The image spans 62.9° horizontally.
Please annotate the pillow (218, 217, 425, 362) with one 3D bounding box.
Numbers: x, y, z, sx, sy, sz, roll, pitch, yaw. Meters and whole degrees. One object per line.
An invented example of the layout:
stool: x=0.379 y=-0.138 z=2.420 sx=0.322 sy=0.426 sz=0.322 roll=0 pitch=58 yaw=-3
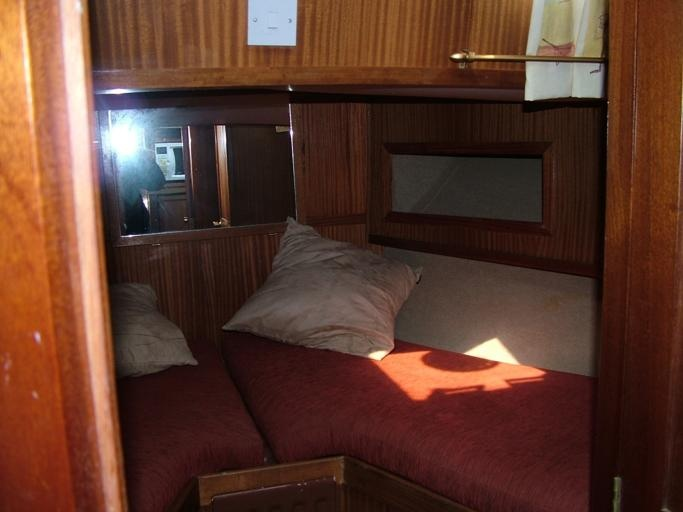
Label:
pillow: x=-0.075 y=0.163 z=2.275 sx=0.549 sy=0.163 sz=0.550 roll=14 pitch=45 yaw=17
